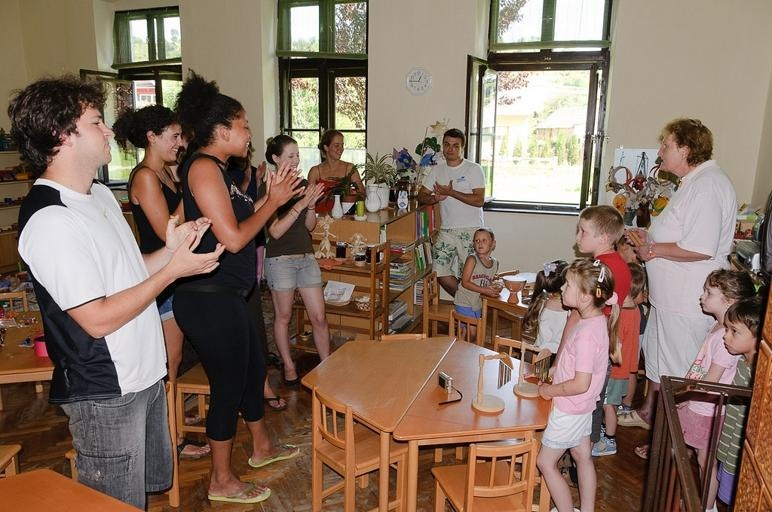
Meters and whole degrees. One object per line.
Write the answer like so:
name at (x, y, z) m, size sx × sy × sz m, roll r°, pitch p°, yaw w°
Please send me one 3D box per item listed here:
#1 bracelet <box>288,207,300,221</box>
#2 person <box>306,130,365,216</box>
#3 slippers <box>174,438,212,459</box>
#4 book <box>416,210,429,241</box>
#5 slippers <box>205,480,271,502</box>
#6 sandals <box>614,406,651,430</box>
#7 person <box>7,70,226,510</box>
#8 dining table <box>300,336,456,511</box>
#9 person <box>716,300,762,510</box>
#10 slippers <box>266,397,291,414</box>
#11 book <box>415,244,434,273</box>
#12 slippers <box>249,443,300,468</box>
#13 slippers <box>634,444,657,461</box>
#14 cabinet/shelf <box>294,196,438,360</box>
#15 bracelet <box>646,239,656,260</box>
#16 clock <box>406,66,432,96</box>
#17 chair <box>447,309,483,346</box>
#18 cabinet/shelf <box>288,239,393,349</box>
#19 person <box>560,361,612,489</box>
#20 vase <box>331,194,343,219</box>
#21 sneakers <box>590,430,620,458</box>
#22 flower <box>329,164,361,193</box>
bracelet at (-0.717, -0.318, 4.168) m, size 0.074 × 0.096 × 0.037 m, roll 18°, pitch 11°, yaw 33°
person at (-0.541, -0.870, 5.597) m, size 0.560 × 0.833 × 0.587 m, roll -3°, pitch 4°, yaw -18°
slippers at (-1.449, 1.446, 4.042) m, size 0.282 × 0.108 × 0.100 m, roll 2°, pitch 18°, yaw 4°
book at (0.390, -0.324, 5.848) m, size 0.173 × 0.308 × 0.315 m, roll 1°, pitch 6°, yaw 12°
slippers at (-0.992, 1.571, 3.580) m, size 0.390 × 0.109 × 0.158 m, roll 1°, pitch 10°, yaw -4°
sandals at (2.044, 1.331, 4.413) m, size 0.310 × 0.132 × 0.127 m, roll 4°, pitch 12°, yaw 11°
person at (-1.340, 0.262, 2.685) m, size 0.789 × 2.210 × 0.506 m, roll -4°, pitch 14°, yaw -20°
dining table at (-0.062, 1.297, 3.694) m, size 0.882 × 0.614 × 1.194 m, roll 8°, pitch 16°, yaw 25°
person at (2.009, 0.851, 3.142) m, size 0.181 × 1.187 × 0.595 m, roll 10°, pitch 16°, yaw 33°
slippers at (-0.910, 1.244, 4.528) m, size 0.174 × 0.049 × 0.099 m, roll 12°, pitch 20°, yaw 32°
book at (0.414, 0.035, 5.951) m, size 0.102 × 0.280 × 0.287 m, roll 1°, pitch 7°, yaw 19°
slippers at (-0.817, 1.445, 3.935) m, size 0.339 × 0.100 × 0.142 m, roll -11°, pitch 18°, yaw -26°
slippers at (1.960, 1.479, 4.085) m, size 0.075 × 0.053 × 0.189 m, roll -1°, pitch 5°, yaw 11°
cabinet/shelf at (-0.241, 0.213, 4.995) m, size 1.459 × 0.873 × 0.523 m, roll 6°, pitch 18°, yaw 26°
bracelet at (1.923, -0.045, 3.898) m, size 0.033 × 0.095 × 0.070 m, roll -1°, pitch 2°, yaw 9°
clock at (0.426, -2.177, 6.717) m, size 0.353 × 0.362 × 0.071 m, roll 2°, pitch 8°, yaw 9°
chair at (0.672, 0.600, 4.560) m, size 0.255 × 0.395 × 0.237 m, roll -17°, pitch 25°, yaw -37°
cabinet/shelf at (-0.417, 0.320, 4.913) m, size 1.012 × 1.034 × 0.389 m, roll 1°, pitch 5°, yaw 18°
person at (1.453, 1.167, 3.744) m, size 0.233 × 0.827 × 0.462 m, roll 10°, pitch 21°, yaw 39°
vase at (-0.464, -0.478, 5.232) m, size 0.100 × 0.208 × 0.254 m, roll 3°, pitch 13°, yaw 7°
sneakers at (1.671, 1.438, 4.140) m, size 0.283 × 0.134 × 0.111 m, roll -2°, pitch 5°, yaw -26°
flower at (-0.400, -0.774, 5.548) m, size 0.313 × 0.315 × 0.141 m, roll 7°, pitch -13°, yaw -30°
